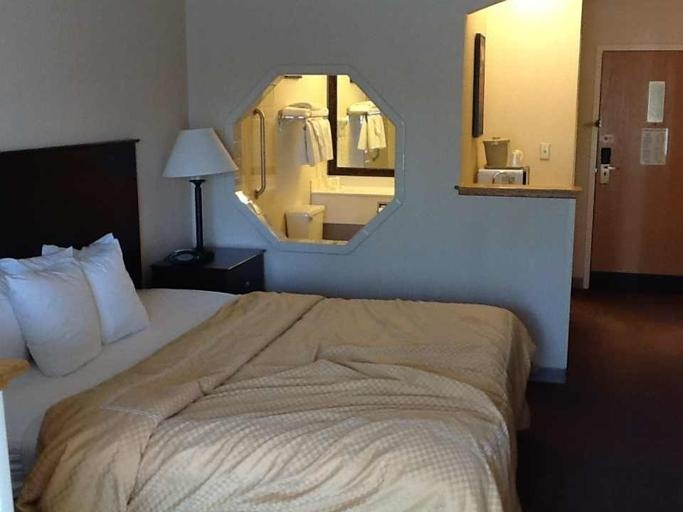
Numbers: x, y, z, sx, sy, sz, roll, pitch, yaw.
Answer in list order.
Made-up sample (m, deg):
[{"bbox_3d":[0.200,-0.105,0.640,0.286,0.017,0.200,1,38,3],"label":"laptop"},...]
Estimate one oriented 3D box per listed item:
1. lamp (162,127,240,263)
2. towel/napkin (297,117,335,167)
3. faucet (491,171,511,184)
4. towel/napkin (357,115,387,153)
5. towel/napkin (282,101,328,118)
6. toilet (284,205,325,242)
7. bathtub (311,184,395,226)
[{"bbox_3d":[-0.967,-0.466,4.076,0.420,0.981,0.485,5,13,7],"label":"lamp"},{"bbox_3d":[-0.262,-1.173,5.853,0.158,0.497,0.435,6,12,15],"label":"towel/napkin"},{"bbox_3d":[1.394,-0.678,4.981,0.182,0.186,0.103,0,4,5],"label":"faucet"},{"bbox_3d":[0.330,-1.337,6.538,0.439,0.554,0.322,-1,6,-4],"label":"towel/napkin"},{"bbox_3d":[-0.381,-1.459,5.754,0.309,0.190,0.544,2,9,16],"label":"towel/napkin"},{"bbox_3d":[-0.449,-0.379,6.143,0.237,0.334,0.457,1,22,1],"label":"toilet"},{"bbox_3d":[0.108,-0.639,6.581,0.916,0.433,0.465,5,13,-1],"label":"bathtub"}]
